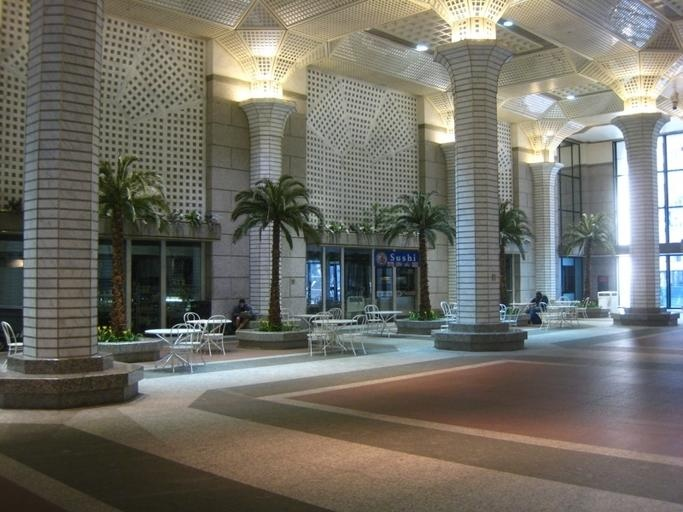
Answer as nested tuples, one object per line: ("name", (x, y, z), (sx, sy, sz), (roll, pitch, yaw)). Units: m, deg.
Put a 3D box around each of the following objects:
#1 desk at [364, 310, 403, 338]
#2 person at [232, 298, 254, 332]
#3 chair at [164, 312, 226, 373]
("desk", (1.411, 2.505, 20.971), (1.074, 0.640, 1.039), (1, 1, -44))
("person", (-3.293, 1.937, 18.849), (0.565, 1.172, 1.108), (6, 7, -2))
("chair", (-3.671, 2.210, 14.437), (1.391, 0.961, 1.434), (2, -3, -7))
